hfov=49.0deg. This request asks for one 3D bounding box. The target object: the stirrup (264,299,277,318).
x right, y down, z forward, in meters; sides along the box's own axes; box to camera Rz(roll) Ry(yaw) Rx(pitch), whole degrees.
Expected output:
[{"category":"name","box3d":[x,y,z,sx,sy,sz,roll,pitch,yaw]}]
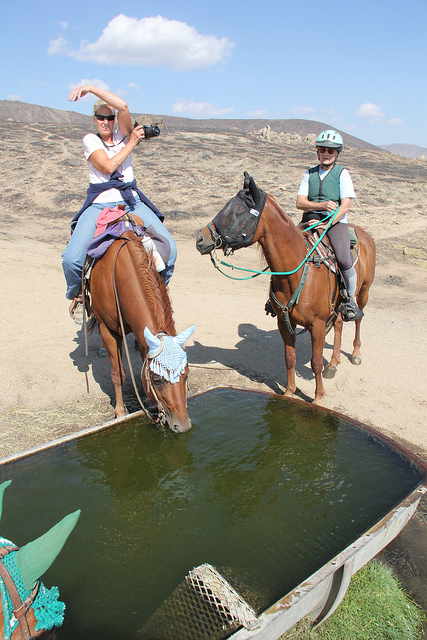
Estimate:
[{"category":"stirrup","box3d":[0.757,-0.160,6.204,0.132,0.183,0.058,26,40,37]}]

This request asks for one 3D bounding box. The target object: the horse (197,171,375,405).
[{"category":"horse","box3d":[1.140,-0.270,5.741,0.937,2.570,3.436,9,14,39]}]

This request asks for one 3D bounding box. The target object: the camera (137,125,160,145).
[{"category":"camera","box3d":[-0.620,-1.886,4.744,0.214,0.192,0.130,-7,-2,22]}]

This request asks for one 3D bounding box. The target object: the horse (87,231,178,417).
[{"category":"horse","box3d":[-0.805,0.043,4.511,0.607,2.292,1.501,-5,-23,-6]}]

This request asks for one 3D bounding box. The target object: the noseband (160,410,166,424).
[{"category":"noseband","box3d":[-0.371,0.724,3.502,0.024,0.096,0.071,-4,30,-25]}]

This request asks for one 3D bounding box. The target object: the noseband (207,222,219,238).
[{"category":"noseband","box3d":[-0.006,-0.934,4.887,0.134,0.031,0.107,39,6,-37]}]
